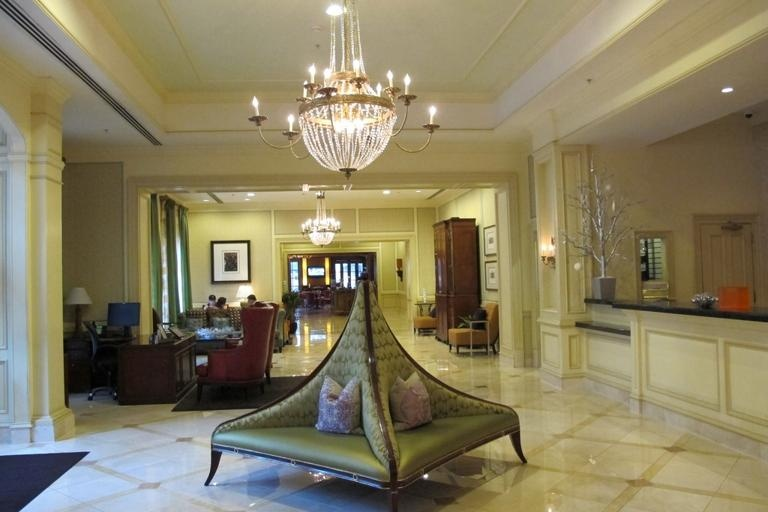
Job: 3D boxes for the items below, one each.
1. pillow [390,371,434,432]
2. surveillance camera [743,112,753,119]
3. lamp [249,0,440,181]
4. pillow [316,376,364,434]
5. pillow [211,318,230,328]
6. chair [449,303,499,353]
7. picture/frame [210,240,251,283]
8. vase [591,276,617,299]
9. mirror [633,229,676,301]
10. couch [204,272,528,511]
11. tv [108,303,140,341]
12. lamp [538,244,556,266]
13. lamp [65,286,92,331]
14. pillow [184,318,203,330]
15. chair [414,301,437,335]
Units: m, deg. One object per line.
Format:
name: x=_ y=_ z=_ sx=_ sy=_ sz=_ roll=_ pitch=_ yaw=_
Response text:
pillow: x=0.279 y=1.567 z=5.339 sx=0.530 sy=0.450 sz=0.276 roll=0 pitch=-29 yaw=-47
surveillance camera: x=5.994 y=-2.332 z=8.279 sx=0.084 sy=0.048 sz=0.092 roll=0 pitch=-11 yaw=14
lamp: x=-0.627 y=-2.379 z=6.957 sx=2.153 sy=2.788 sz=1.979 roll=-2 pitch=-2 yaw=34
pillow: x=-0.440 y=1.570 z=5.233 sx=0.521 sy=0.498 sz=0.276 roll=-3 pitch=-13 yaw=21
pillow: x=-3.901 y=1.598 z=12.040 sx=0.374 sy=0.359 sz=0.198 roll=-5 pitch=-38 yaw=-15
chair: x=1.940 y=1.621 z=11.444 sx=1.097 sy=1.148 sz=1.127 roll=1 pitch=-6 yaw=-3
picture/frame: x=-4.538 y=0.169 z=14.706 sx=1.254 sy=1.337 sz=0.137 roll=0 pitch=-9 yaw=-8
vase: x=3.355 y=0.453 z=7.815 sx=0.330 sy=0.461 sz=0.376 roll=-1 pitch=0 yaw=-7
mirror: x=4.424 y=0.273 z=8.268 sx=0.585 sy=1.312 sz=0.086 roll=-2 pitch=11 yaw=23
couch: x=-0.035 y=1.554 z=5.681 sx=2.556 sy=2.080 sz=2.573 roll=-7 pitch=-7 yaw=43
tv: x=-4.420 y=1.096 z=8.545 sx=0.582 sy=0.608 sz=0.180 roll=-1 pitch=-14 yaw=-8
lamp: x=2.754 y=-0.010 z=8.504 sx=0.092 sy=0.389 sz=0.406 roll=-1 pitch=-3 yaw=-16
lamp: x=-5.248 y=0.911 z=8.652 sx=0.404 sy=0.759 sz=0.542 roll=1 pitch=-4 yaw=-33
pillow: x=-4.520 y=1.642 z=12.042 sx=0.390 sy=0.216 sz=0.341 roll=7 pitch=-20 yaw=2
chair: x=1.213 y=1.591 z=14.502 sx=0.693 sy=0.855 sz=1.281 roll=0 pitch=-6 yaw=-3
